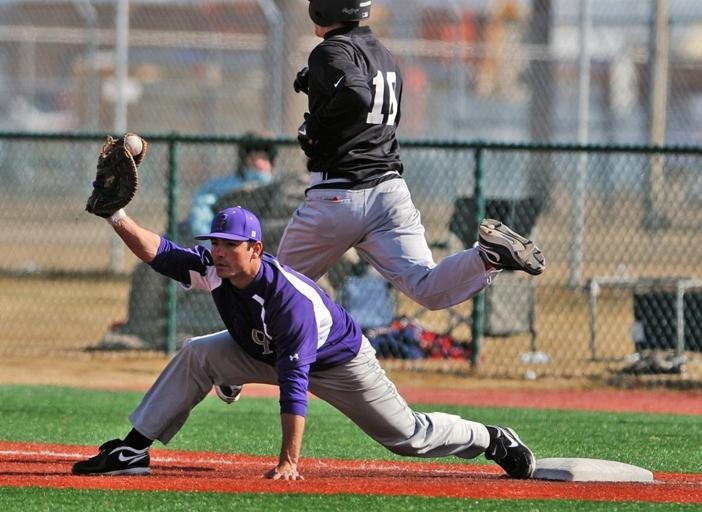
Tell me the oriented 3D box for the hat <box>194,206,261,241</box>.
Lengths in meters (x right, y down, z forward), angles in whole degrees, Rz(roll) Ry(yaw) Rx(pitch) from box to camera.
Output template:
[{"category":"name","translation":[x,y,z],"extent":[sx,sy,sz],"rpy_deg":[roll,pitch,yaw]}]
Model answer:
[{"category":"hat","translation":[-1.034,-0.251,12.058],"extent":[0.426,0.257,0.318],"rpy_deg":[5,-3,-3]}]

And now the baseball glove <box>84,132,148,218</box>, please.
[{"category":"baseball glove","translation":[-2.133,-0.737,12.305],"extent":[0.518,0.770,0.270],"rpy_deg":[10,-11,10]}]

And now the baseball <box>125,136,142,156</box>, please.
[{"category":"baseball","translation":[-1.980,-0.993,12.369],"extent":[0.167,0.141,0.135],"rpy_deg":[3,-34,-45]}]

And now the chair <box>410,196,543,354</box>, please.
[{"category":"chair","translation":[1.568,0.139,16.811],"extent":[1.471,2.342,1.505],"rpy_deg":[1,-2,5]}]
